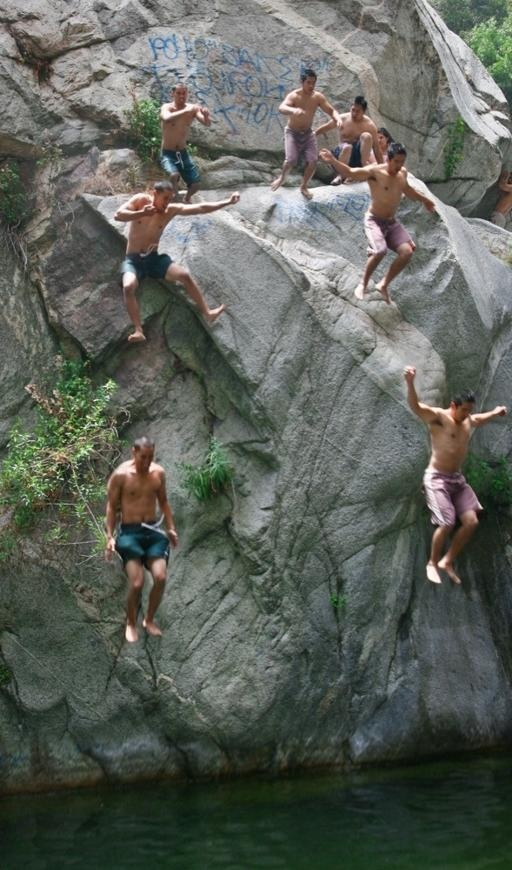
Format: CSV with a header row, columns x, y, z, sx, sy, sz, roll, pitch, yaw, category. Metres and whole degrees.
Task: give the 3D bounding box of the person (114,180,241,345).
x,y,z,sx,sy,sz,roll,pitch,yaw,category
-0.973,-1.742,9.539,1.129,1.875,1.173,16,47,-2,person
